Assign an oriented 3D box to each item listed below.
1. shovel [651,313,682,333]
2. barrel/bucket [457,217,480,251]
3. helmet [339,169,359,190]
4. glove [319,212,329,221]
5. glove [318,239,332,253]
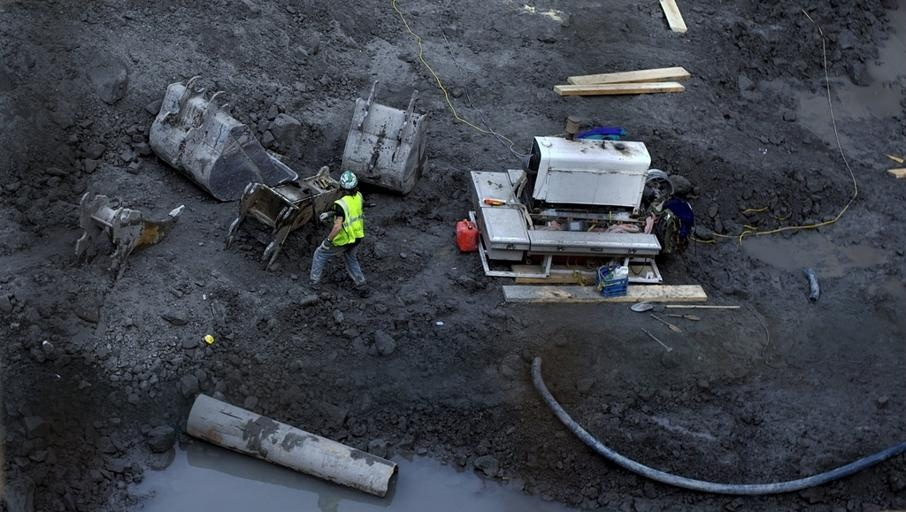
[{"bbox_3d":[4.353,1.394,14.377,0.092,0.043,0.567,-15,39,-38],"label":"shovel"},{"bbox_3d":[0.299,-0.460,15.118,0.512,0.571,0.531,3,33,-2],"label":"barrel/bucket"},{"bbox_3d":[-2.084,-1.482,14.036,0.408,0.435,0.533,5,94,-6],"label":"helmet"},{"bbox_3d":[-2.642,-0.806,14.318,0.164,0.219,0.127,3,79,-10],"label":"glove"},{"bbox_3d":[-2.561,-0.186,13.989,0.276,0.361,0.142,-3,94,-6],"label":"glove"}]
